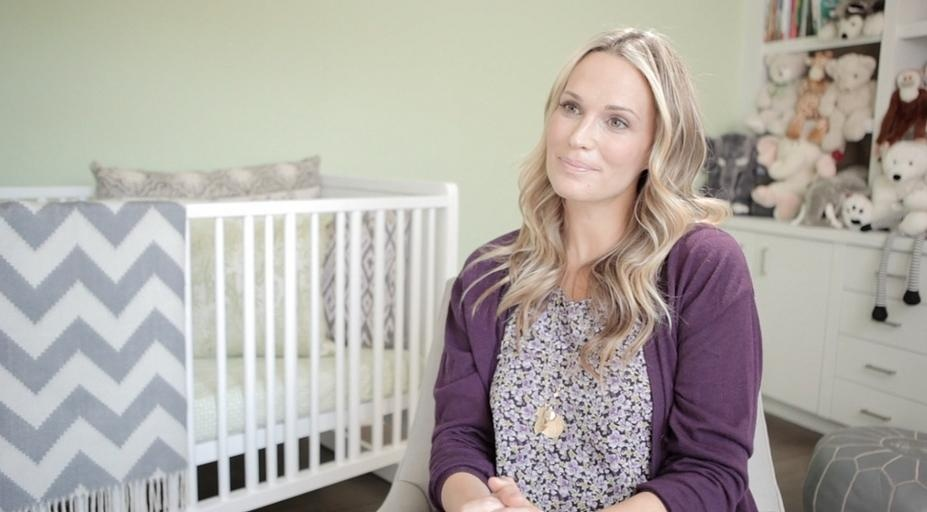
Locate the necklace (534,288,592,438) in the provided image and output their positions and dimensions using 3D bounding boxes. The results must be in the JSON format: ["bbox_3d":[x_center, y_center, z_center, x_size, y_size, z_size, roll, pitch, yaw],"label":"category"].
[{"bbox_3d":[0.320,0.356,2.458,0.153,0.508,0.088,6,1,13],"label":"necklace"}]
